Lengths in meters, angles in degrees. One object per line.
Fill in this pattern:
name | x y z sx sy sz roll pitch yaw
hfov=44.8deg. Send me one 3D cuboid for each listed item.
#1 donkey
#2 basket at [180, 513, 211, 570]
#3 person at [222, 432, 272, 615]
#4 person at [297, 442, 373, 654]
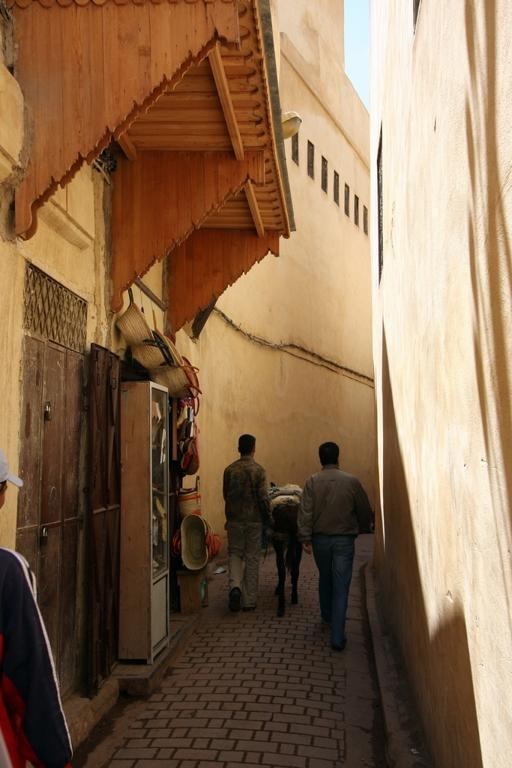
donkey | 0.372 2.091 7.835 0.268 1.562 0.993 0 -3 5
basket | -0.705 1.843 7.134 0.330 0.637 0.233 2 -5 -12
person | -0.098 1.647 7.705 0.368 2.393 0.680 0 -1 4
person | 0.765 1.511 6.232 0.387 2.449 0.848 0 -1 6
